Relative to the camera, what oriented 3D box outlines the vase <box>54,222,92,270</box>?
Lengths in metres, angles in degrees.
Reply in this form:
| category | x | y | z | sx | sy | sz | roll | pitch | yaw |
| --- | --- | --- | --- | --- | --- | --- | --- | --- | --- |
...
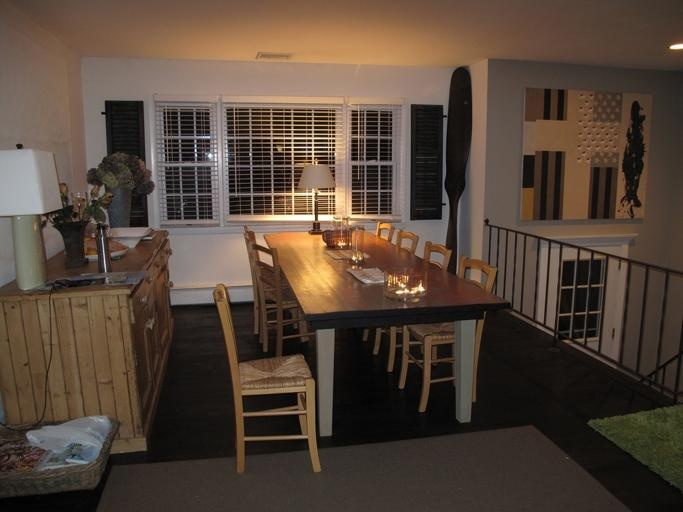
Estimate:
| category | x | y | z | sx | sy | sz | roll | pitch | yaw |
| --- | --- | --- | --- | --- | --- | --- | --- | --- | --- |
| vase | -2.014 | -0.089 | 3.840 | 0.274 | 0.335 | 0.261 | -9 | 13 | -38 |

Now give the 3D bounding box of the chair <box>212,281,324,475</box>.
| category | x | y | z | sx | sy | sz | roll | pitch | yaw |
| --- | --- | --- | --- | --- | --- | --- | --- | --- | --- |
| chair | -0.471 | 0.788 | 3.382 | 0.758 | 1.062 | 0.718 | -1 | 3 | -24 |

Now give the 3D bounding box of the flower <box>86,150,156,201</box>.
| category | x | y | z | sx | sy | sz | roll | pitch | yaw |
| --- | --- | --- | --- | --- | --- | --- | --- | --- | --- |
| flower | -2.015 | -0.712 | 4.638 | 0.511 | 0.385 | 0.447 | 1 | 3 | 9 |

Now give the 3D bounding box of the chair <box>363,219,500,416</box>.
| category | x | y | z | sx | sy | sz | roll | pitch | yaw |
| --- | --- | --- | --- | --- | --- | --- | --- | --- | --- |
| chair | 0.747 | 0.538 | 4.179 | 0.513 | 0.813 | 1.529 | 1 | 6 | -8 |

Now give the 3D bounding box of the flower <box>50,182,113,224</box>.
| category | x | y | z | sx | sy | sz | roll | pitch | yaw |
| --- | --- | --- | --- | --- | --- | --- | --- | --- | --- |
| flower | -2.057 | -0.386 | 3.918 | 0.377 | 0.198 | 0.452 | -6 | -6 | 19 |
